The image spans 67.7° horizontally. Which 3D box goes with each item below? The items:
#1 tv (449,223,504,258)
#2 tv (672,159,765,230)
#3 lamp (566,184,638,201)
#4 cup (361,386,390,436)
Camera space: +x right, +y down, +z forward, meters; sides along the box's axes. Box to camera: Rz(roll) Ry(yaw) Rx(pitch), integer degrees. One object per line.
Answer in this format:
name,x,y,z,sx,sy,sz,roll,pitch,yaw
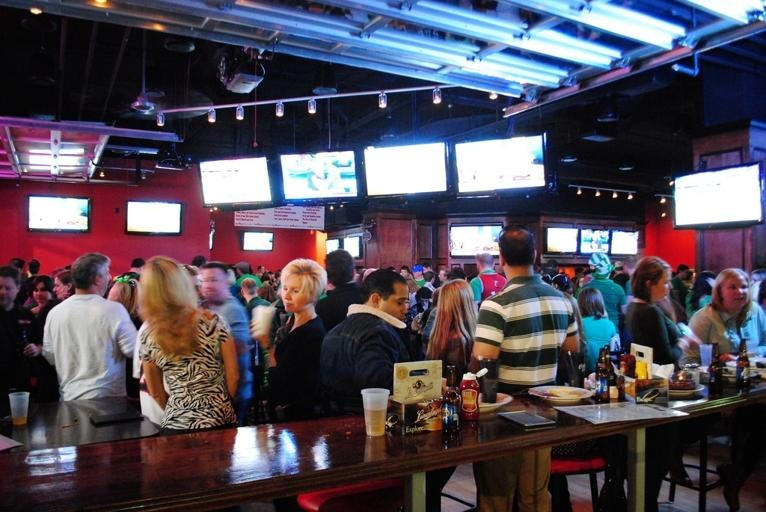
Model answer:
tv,2.195,-0.385,13.340,1.171,0.643,0.112,0,-7,15
tv,3.899,-0.696,6.583,0.096,0.587,0.910,0,-3,-32
lamp,5.998,-1.724,15.479,3.241,0.414,1.349,-9,9,-44
cup,-0.038,0.864,3.189,0.259,0.280,0.235,1,-7,-2
